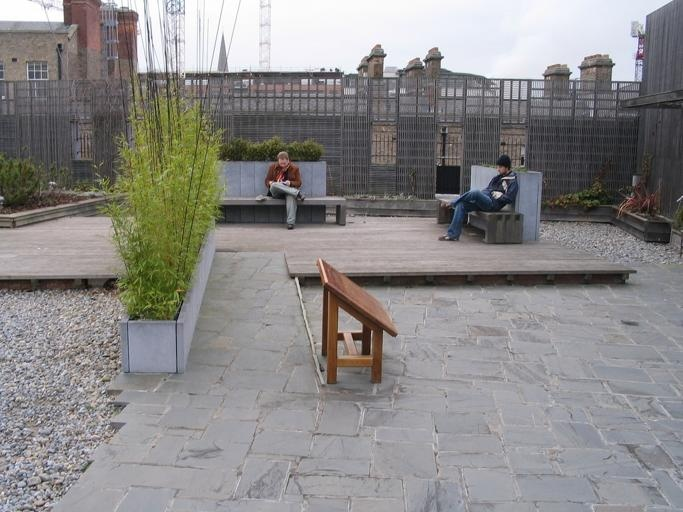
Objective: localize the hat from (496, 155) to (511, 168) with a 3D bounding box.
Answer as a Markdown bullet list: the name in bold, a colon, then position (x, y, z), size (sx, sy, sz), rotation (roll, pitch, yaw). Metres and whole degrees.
- **hat**: position (2.565, -1.502, 8.642), size (0.180, 0.242, 0.245), rotation (-5, 24, -2)

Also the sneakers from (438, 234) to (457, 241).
- **sneakers**: position (1.645, -0.305, 8.566), size (0.283, 0.127, 0.100), rotation (6, 6, 8)

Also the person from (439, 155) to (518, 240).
- **person**: position (2.391, -0.952, 9.335), size (1.503, 1.985, 0.924), rotation (2, 7, 4)
